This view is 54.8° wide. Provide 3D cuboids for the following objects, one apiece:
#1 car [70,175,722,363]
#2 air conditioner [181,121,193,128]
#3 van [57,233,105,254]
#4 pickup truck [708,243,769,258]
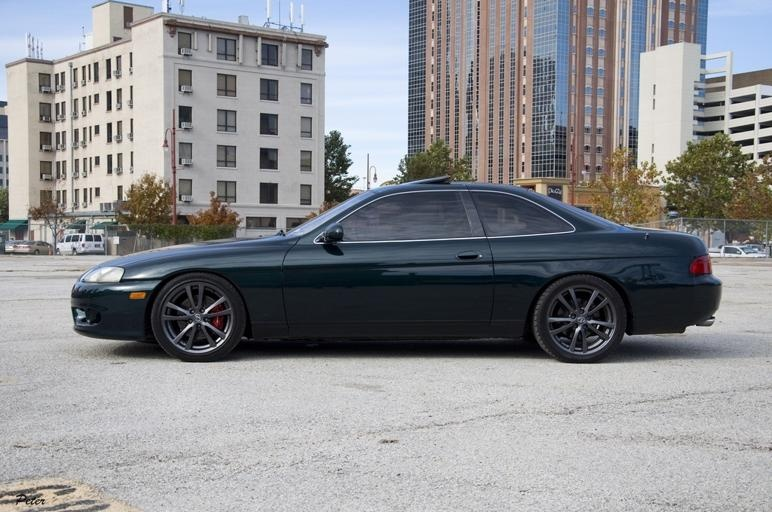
[{"bbox_3d":[0.215,0.058,9.495,7.360,1.994,3.083,0,6,0],"label":"car"},{"bbox_3d":[-15.566,-10.285,58.423,0.928,0.558,0.508,-6,10,-39],"label":"air conditioner"},{"bbox_3d":[-23.060,-0.961,56.548,1.873,1.245,3.322,-2,7,-44],"label":"van"},{"bbox_3d":[21.762,0.000,46.157,3.493,1.135,1.577,-2,4,5],"label":"pickup truck"}]
